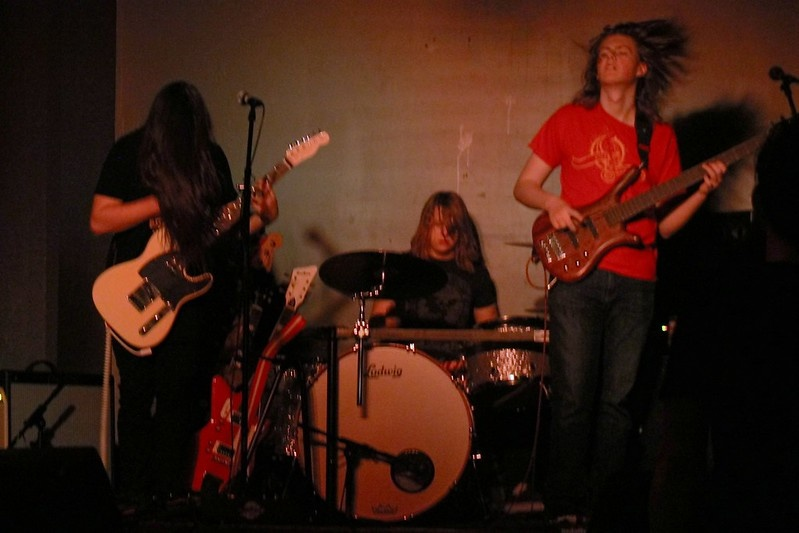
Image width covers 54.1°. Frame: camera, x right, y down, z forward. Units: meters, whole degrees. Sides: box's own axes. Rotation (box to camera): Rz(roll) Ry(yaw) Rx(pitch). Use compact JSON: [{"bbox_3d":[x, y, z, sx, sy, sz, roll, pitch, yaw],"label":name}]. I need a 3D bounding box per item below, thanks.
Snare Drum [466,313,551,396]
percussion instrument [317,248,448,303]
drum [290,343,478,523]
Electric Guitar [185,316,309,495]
[{"bbox_3d":[0.619,0.475,4.461,0.362,0.457,0.467,3,8,5],"label":"Snare Drum"},{"bbox_3d":[-0.097,0.047,4.334,0.686,0.247,0.433,5,2,-14],"label":"percussion instrument"},{"bbox_3d":[-0.050,0.852,4.789,0.936,0.972,1.079,1,6,4],"label":"drum"},{"bbox_3d":[-0.873,0.832,4.450,0.485,1.472,0.183,19,5,-25],"label":"Electric Guitar"}]
